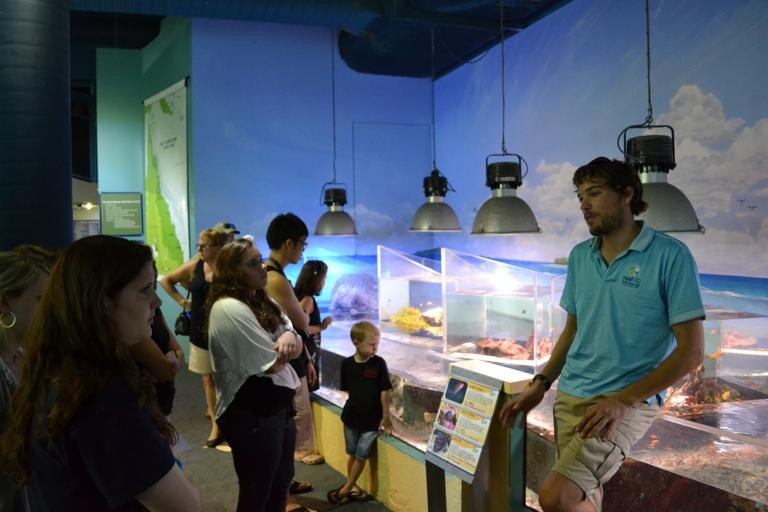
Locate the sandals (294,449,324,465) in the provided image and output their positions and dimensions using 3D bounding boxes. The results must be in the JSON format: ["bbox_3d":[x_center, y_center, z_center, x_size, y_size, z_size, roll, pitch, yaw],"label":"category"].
[{"bbox_3d":[-0.579,1.548,4.298,0.104,0.048,0.172,2,0,-43],"label":"sandals"}]

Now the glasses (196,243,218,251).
[{"bbox_3d":[-1.258,-0.069,3.977,0.119,0.036,0.112,1,-2,-35],"label":"glasses"}]

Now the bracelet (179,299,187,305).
[{"bbox_3d":[-1.885,0.437,5.194,0.048,0.037,0.048,3,-3,-20],"label":"bracelet"}]

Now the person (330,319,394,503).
[{"bbox_3d":[-0.160,1.059,3.801,0.458,1.196,0.318,-1,5,6],"label":"person"}]

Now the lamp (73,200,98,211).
[{"bbox_3d":[-5.435,-0.929,10.023,0.371,0.169,0.665,-4,5,-29],"label":"lamp"}]

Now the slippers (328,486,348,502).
[{"bbox_3d":[-0.307,1.626,3.758,0.123,0.045,0.063,-1,8,-35],"label":"slippers"}]

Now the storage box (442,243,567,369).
[{"bbox_3d":[0.918,0.371,4.551,1.063,1.092,0.802,4,7,41],"label":"storage box"}]

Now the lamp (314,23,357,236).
[{"bbox_3d":[-0.565,-1.466,6.192,0.393,2.485,1.446,-2,4,-4],"label":"lamp"}]

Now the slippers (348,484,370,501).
[{"bbox_3d":[-0.164,1.624,3.773,0.137,0.038,0.065,7,14,28],"label":"slippers"}]

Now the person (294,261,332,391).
[{"bbox_3d":[-0.565,0.588,4.487,0.350,1.129,0.352,-2,20,-8],"label":"person"}]

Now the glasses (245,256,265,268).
[{"bbox_3d":[-0.667,0.024,2.854,0.060,0.061,0.017,12,28,-20],"label":"glasses"}]
